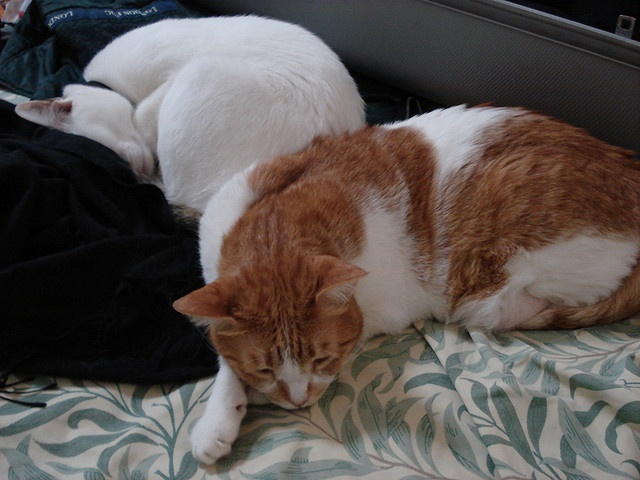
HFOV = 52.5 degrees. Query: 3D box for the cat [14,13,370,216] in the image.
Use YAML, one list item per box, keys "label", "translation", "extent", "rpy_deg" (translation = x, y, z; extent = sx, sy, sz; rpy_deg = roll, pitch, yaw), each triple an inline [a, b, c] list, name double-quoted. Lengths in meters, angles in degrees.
- label: "cat"
  translation: [-0.458, -0.382, 2.308]
  extent: [1.190, 0.292, 0.697]
  rpy_deg: [-8, 47, -5]
